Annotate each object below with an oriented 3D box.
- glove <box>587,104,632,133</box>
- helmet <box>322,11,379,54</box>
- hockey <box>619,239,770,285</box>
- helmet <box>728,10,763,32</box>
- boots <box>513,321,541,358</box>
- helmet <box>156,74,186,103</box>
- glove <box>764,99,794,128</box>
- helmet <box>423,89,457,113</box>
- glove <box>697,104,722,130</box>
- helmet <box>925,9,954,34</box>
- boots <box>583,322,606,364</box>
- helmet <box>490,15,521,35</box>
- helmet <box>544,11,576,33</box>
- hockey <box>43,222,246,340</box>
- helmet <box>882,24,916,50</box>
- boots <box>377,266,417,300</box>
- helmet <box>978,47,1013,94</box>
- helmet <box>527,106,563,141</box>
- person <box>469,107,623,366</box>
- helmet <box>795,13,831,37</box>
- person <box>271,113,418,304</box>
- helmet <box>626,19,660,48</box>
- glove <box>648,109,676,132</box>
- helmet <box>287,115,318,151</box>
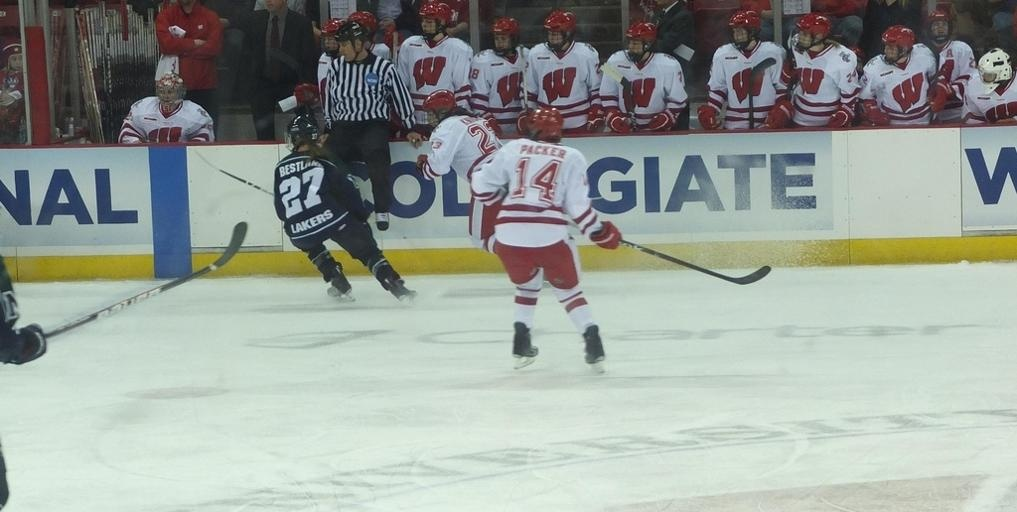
[{"bbox_3d":[1.153,-1.552,15.328,0.500,0.266,0.177,2,-27,23],"label":"glove"},{"bbox_3d":[-1.862,-2.565,15.240,0.684,0.489,0.500,1,-3,-34],"label":"helmet"},{"bbox_3d":[1.751,0.026,13.057,1.454,0.252,0.152,20,-7,27],"label":"hockey"},{"bbox_3d":[2.706,-2.672,15.347,0.357,0.217,0.231,-10,26,0],"label":"helmet"},{"bbox_3d":[0.120,0.767,12.360,0.209,0.318,0.389,2,-6,26],"label":"boots"},{"bbox_3d":[-3.857,-1.902,15.252,0.372,0.301,0.309,-6,3,-7],"label":"helmet"},{"bbox_3d":[3.102,-1.610,15.352,0.248,0.139,0.443,23,45,37],"label":"glove"},{"bbox_3d":[-0.672,-1.544,13.394,0.357,0.184,0.222,-6,21,-1],"label":"helmet"},{"bbox_3d":[2.304,-1.583,15.493,0.301,0.314,0.147,10,-17,-13],"label":"glove"},{"bbox_3d":[5.045,-2.741,15.764,0.310,0.294,0.354,-1,-3,3],"label":"helmet"},{"bbox_3d":[0.773,0.787,12.193,0.186,0.374,0.286,-3,7,4],"label":"boots"},{"bbox_3d":[-0.019,-2.643,15.318,0.244,0.165,0.308,8,20,27],"label":"helmet"},{"bbox_3d":[0.628,-2.671,15.300,0.352,0.214,0.242,-8,21,-39],"label":"helmet"},{"bbox_3d":[-3.846,0.252,14.245,2.781,0.328,0.278,-23,37,-33],"label":"hockey"},{"bbox_3d":[4.455,-2.519,15.431,0.411,0.304,0.281,11,12,7],"label":"helmet"},{"bbox_3d":[-1.197,0.282,14.072,0.466,0.281,0.195,42,5,6],"label":"boots"},{"bbox_3d":[5.578,-2.139,15.362,0.389,0.451,0.167,-1,8,15],"label":"helmet"},{"bbox_3d":[0.349,-1.219,12.411,0.315,0.300,0.329,3,-15,7],"label":"helmet"},{"bbox_3d":[0.347,-0.037,12.223,1.247,2.069,0.565,-3,7,1],"label":"person"},{"bbox_3d":[3.442,-2.633,15.244,0.365,0.178,0.240,0,17,-7],"label":"helmet"},{"bbox_3d":[-1.820,-0.526,14.159,1.271,1.921,0.356,-1,8,14],"label":"person"},{"bbox_3d":[1.521,-2.565,15.337,0.390,0.283,0.278,-2,7,-25],"label":"helmet"},{"bbox_3d":[1.773,-1.538,15.325,0.232,0.122,0.309,17,38,39],"label":"glove"},{"bbox_3d":[-2.095,-1.320,14.206,0.402,0.326,0.345,10,21,36],"label":"helmet"}]
